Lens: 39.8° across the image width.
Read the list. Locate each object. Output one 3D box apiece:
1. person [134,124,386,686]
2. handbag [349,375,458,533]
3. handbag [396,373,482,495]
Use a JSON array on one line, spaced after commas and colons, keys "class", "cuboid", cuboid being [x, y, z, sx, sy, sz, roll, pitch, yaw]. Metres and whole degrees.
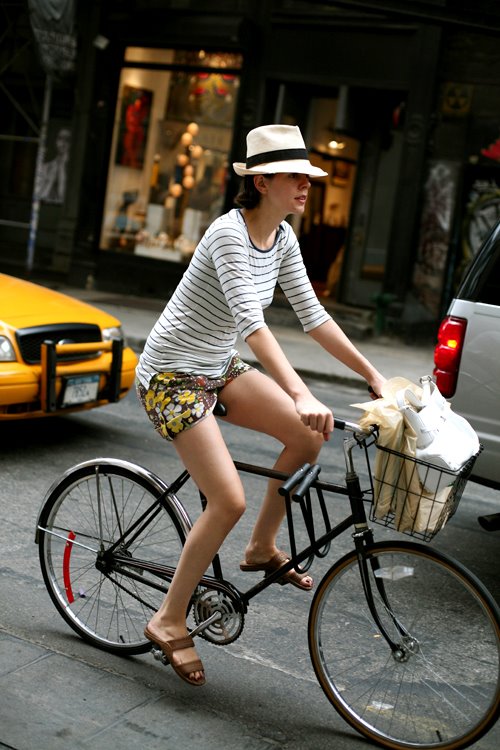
[{"class": "person", "cuboid": [0.034, 0.066, 2.270, 0.959, 1.575, 0.867, 6, 14, 22]}, {"class": "handbag", "cuboid": [0.395, 0.187, 2.073, 0.393, 0.467, 0.407, 2, 13, 12]}, {"class": "handbag", "cuboid": [0.512, 0.182, 1.889, 0.131, 0.325, 0.252, -28, 25, 30]}]
